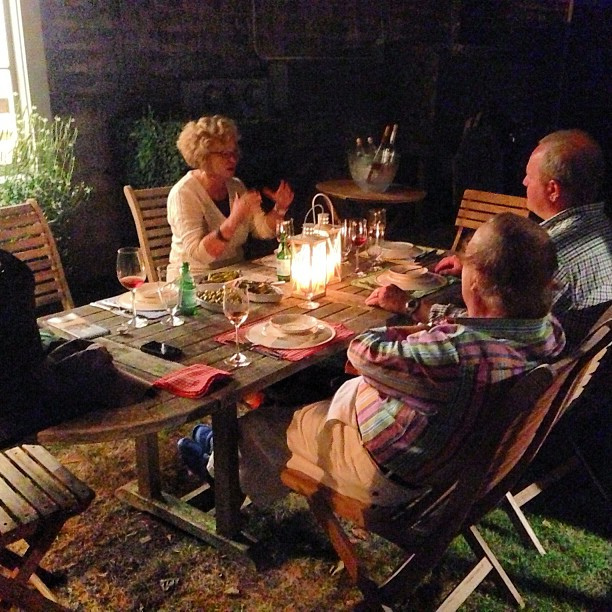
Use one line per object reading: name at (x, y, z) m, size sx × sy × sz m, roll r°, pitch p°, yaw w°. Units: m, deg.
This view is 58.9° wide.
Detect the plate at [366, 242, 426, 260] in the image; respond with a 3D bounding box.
plate at (0.527, -0.291, 2.894) m, size 0.198 × 0.024 × 0.172 m, roll -4°, pitch 18°, yaw -3°

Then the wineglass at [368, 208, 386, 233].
wineglass at (0.363, -0.411, 2.597) m, size 0.123 × 0.105 × 0.107 m, roll 1°, pitch 13°, yaw 8°

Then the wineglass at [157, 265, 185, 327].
wineglass at (-0.512, -0.041, 2.049) m, size 0.138 × 0.212 × 0.104 m, roll -5°, pitch 13°, yaw -19°

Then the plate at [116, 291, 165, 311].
plate at (-0.654, -0.009, 2.140) m, size 0.131 × 0.014 × 0.117 m, roll -1°, pitch 22°, yaw -22°

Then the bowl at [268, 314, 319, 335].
bowl at (-0.041, 0.062, 1.914) m, size 0.106 × 0.020 × 0.096 m, roll 7°, pitch 21°, yaw 15°

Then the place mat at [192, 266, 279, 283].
place mat at (-0.277, -0.145, 2.509) m, size 0.233 × 0.027 × 0.157 m, roll 13°, pitch 22°, yaw 28°

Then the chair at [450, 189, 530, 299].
chair at (1.187, -0.593, 3.461) m, size 0.459 × 0.252 × 0.171 m, roll 19°, pitch 30°, yaw 34°

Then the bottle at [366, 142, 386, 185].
bottle at (0.503, -1.016, 3.857) m, size 0.113 × 0.308 × 0.049 m, roll 4°, pitch 27°, yaw 3°

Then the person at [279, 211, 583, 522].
person at (0.319, 0.171, 1.479) m, size 0.695 × 0.876 × 0.446 m, roll 20°, pitch 31°, yaw 33°

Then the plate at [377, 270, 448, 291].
plate at (0.511, -0.109, 2.435) m, size 0.169 × 0.020 × 0.154 m, roll -7°, pitch 20°, yaw -30°

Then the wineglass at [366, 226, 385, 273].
wineglass at (0.340, -0.281, 2.626) m, size 0.086 × 0.248 × 0.184 m, roll 8°, pitch 26°, yaw 10°

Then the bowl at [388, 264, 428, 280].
bowl at (0.476, -0.158, 2.488) m, size 0.129 × 0.028 × 0.117 m, roll 4°, pitch 16°, yaw 15°
